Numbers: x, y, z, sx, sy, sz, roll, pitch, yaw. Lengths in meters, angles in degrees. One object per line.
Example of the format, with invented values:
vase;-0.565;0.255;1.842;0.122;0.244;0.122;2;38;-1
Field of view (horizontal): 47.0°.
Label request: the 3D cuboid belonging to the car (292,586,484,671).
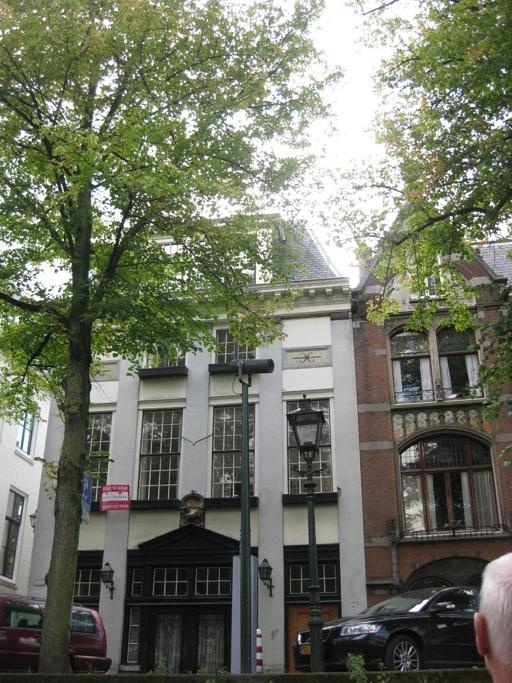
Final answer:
car;2.798;5.334;10.972;3.027;1.311;1.135;2;-22;-10
